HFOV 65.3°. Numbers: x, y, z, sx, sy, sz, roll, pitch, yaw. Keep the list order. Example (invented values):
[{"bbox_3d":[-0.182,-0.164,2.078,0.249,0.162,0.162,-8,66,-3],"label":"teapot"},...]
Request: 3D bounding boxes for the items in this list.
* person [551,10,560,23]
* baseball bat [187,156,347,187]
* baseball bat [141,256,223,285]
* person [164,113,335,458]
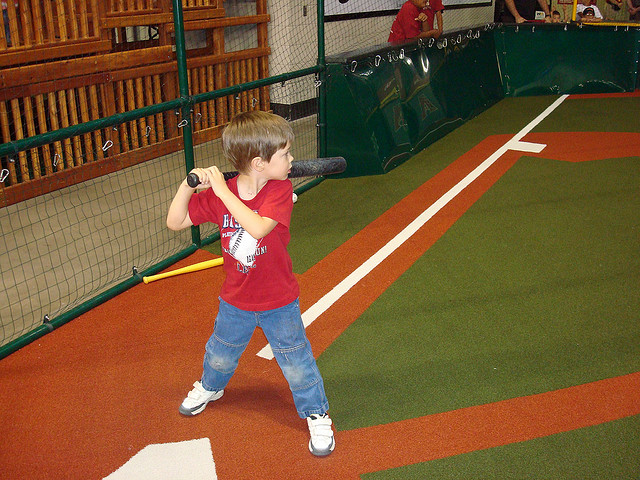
[{"bbox_3d":[5.255,-4.996,11.136,0.189,0.264,1.139,7,22,22],"label":"person"},{"bbox_3d":[-0.409,-0.386,3.025,0.872,0.125,0.105,3,-3,12],"label":"baseball bat"},{"bbox_3d":[-1.302,0.303,4.790,0.592,0.065,0.098,-18,43,-23],"label":"baseball bat"},{"bbox_3d":[-0.362,0.276,2.839,1.011,1.928,0.616,10,23,16],"label":"person"}]
